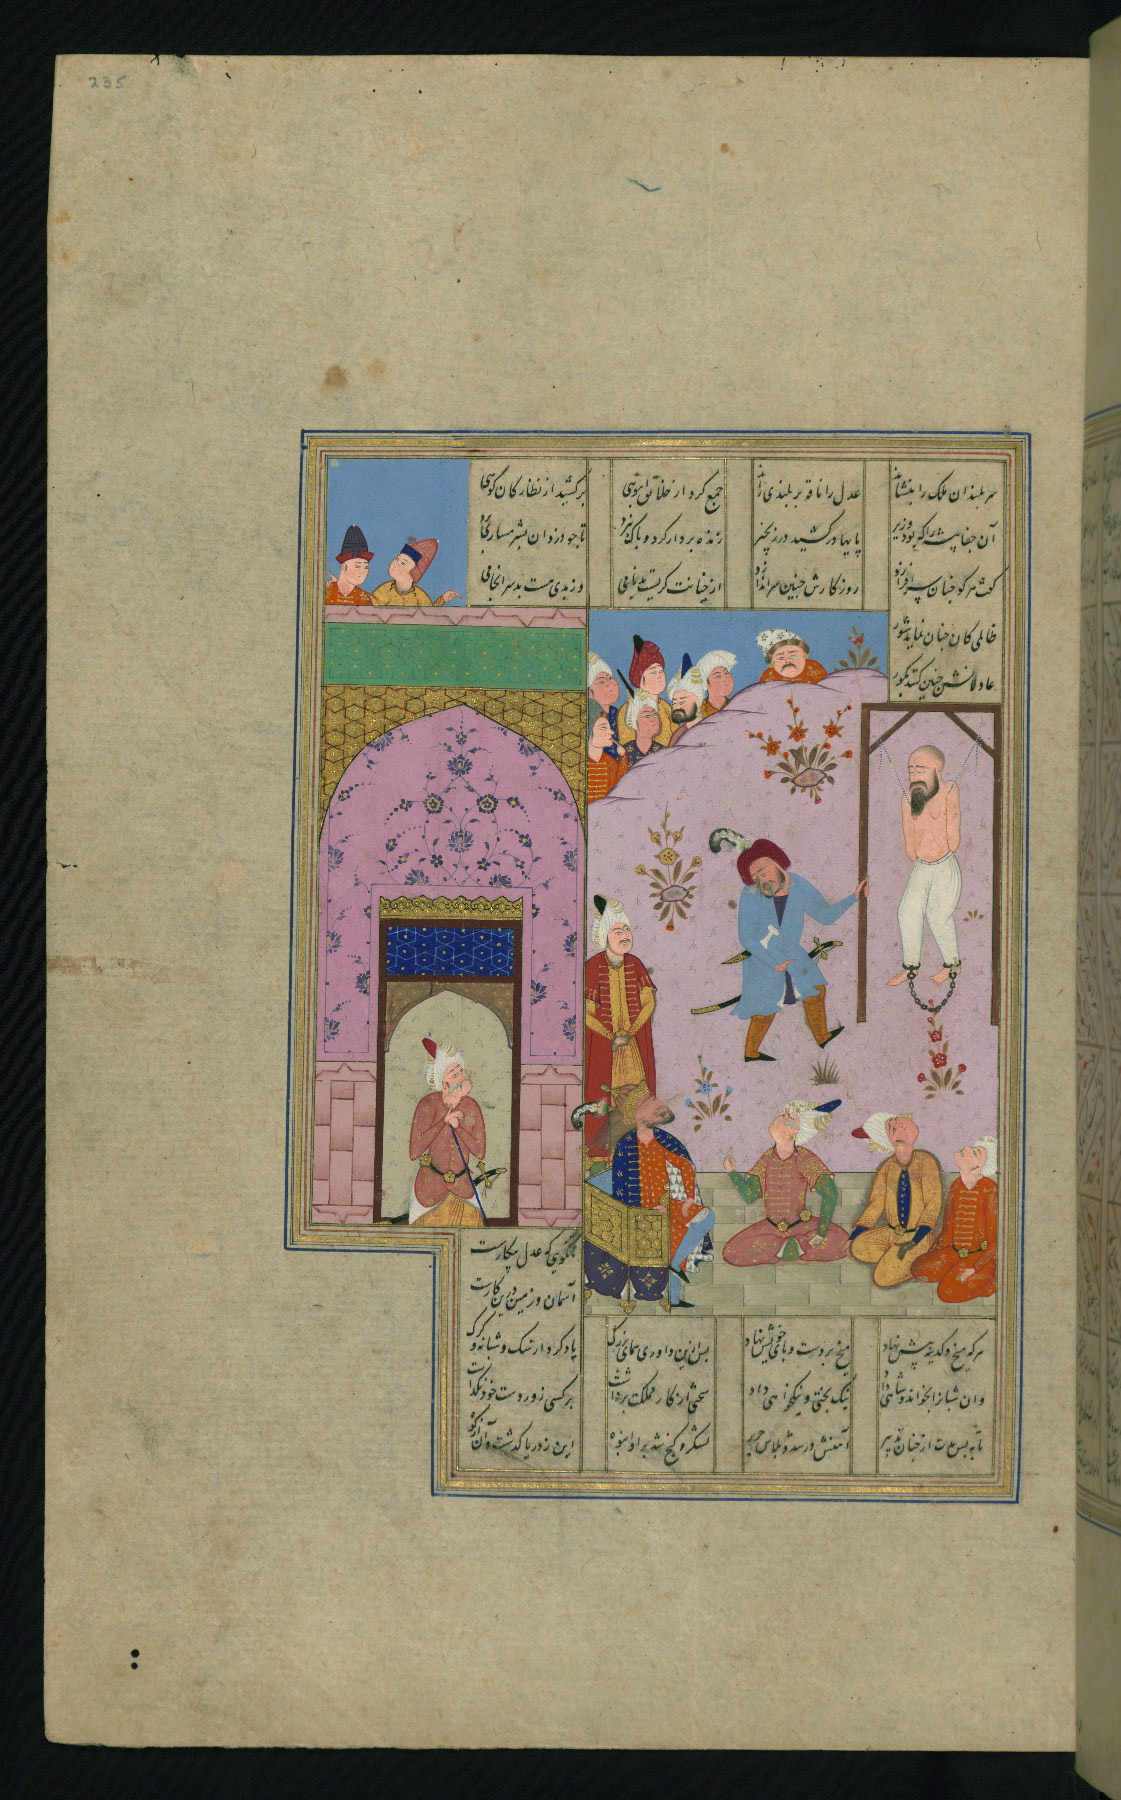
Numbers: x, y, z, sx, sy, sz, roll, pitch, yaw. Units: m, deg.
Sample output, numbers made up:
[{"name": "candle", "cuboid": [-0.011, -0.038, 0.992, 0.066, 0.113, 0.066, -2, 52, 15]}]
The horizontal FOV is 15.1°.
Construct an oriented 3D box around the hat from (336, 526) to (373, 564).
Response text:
[{"name": "hat", "cuboid": [-0.400, -0.674, 8.149, 0.062, 0.061, 0.074, 1, 83, -4]}]
